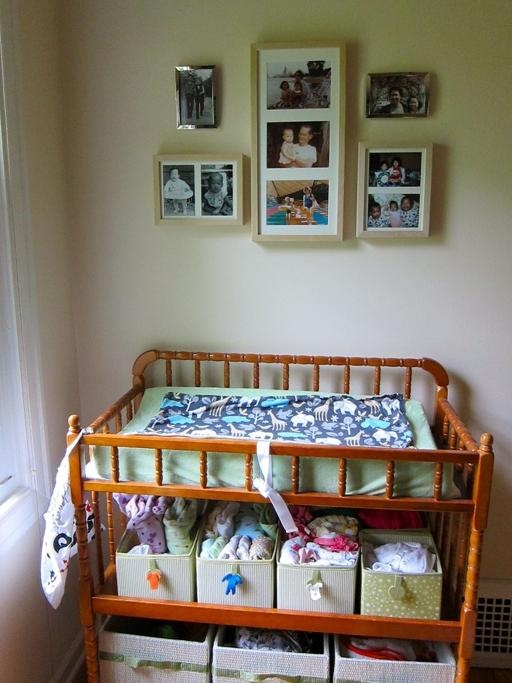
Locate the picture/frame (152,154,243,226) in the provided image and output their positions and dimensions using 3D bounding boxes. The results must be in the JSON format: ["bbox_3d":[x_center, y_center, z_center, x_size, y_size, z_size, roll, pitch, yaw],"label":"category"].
[{"bbox_3d":[-0.201,-0.515,1.910,0.299,0.218,0.025,1,13,5],"label":"picture/frame"}]

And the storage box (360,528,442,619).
[{"bbox_3d":[0.361,0.602,1.497,0.220,0.140,0.226,1,4,5],"label":"storage box"}]

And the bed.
[{"bbox_3d":[0.085,0.496,1.575,1.015,0.903,0.609,1,7,8],"label":"bed"}]

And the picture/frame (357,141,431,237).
[{"bbox_3d":[0.454,-0.507,1.835,0.286,0.360,0.027,2,16,12],"label":"picture/frame"}]

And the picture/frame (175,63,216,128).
[{"bbox_3d":[-0.201,-0.821,1.864,0.190,0.251,0.027,0,7,5],"label":"picture/frame"}]

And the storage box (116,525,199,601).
[{"bbox_3d":[-0.276,0.627,1.568,0.166,0.110,0.170,1,5,2],"label":"storage box"}]

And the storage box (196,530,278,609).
[{"bbox_3d":[-0.056,0.592,1.481,0.152,0.103,0.155,0,-2,7],"label":"storage box"}]
